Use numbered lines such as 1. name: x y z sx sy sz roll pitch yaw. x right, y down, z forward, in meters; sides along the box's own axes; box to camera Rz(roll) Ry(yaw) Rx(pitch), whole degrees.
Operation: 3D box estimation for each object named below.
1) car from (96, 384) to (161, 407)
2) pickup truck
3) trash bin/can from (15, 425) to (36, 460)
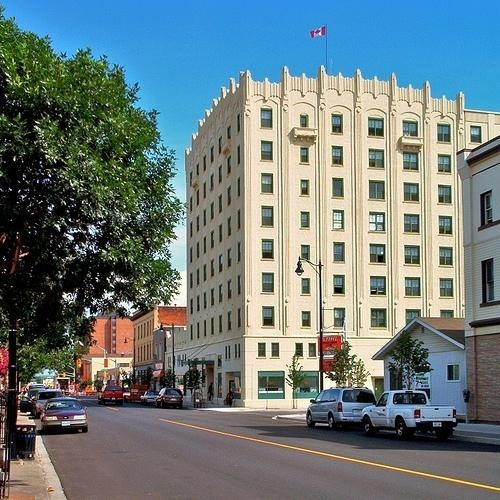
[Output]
1. car: -10.097 12.213 77.412 4.657 1.780 3.049 7 -11 -28
2. pickup truck: 5.522 5.827 33.369 1.472 1.417 3.269 3 -9 -16
3. trash bin/can: -6.070 5.195 24.989 0.499 0.932 0.578 4 -15 -14
